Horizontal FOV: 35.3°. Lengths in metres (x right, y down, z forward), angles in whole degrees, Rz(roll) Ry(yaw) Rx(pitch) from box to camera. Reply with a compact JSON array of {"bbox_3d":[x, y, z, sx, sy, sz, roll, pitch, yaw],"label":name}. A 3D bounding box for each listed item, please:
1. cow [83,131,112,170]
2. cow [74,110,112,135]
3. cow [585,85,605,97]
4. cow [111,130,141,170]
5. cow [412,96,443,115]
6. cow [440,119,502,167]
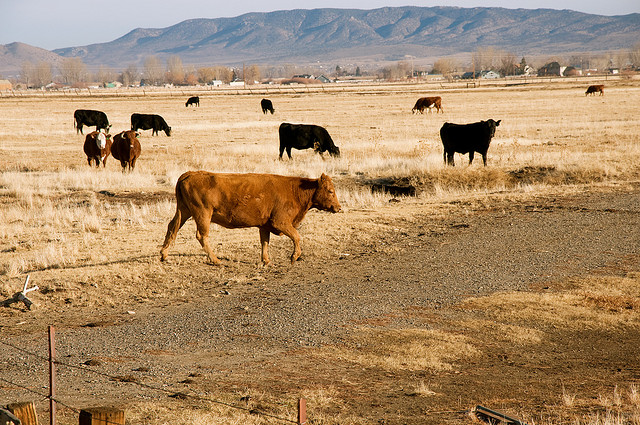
[{"bbox_3d":[-9.222,-2.640,41.711,1.084,1.575,1.744,-12,18,-29],"label":"cow"},{"bbox_3d":[-13.448,-5.234,59.517,2.517,1.477,0.659,9,11,13],"label":"cow"},{"bbox_3d":[24.579,-10.746,88.430,1.496,1.085,2.636,1,16,15],"label":"cow"},{"bbox_3d":[-7.869,-2.624,41.048,0.773,1.561,1.781,-11,17,-25],"label":"cow"},{"bbox_3d":[7.980,-7.849,72.959,2.180,1.286,3.353,-2,16,5],"label":"cow"},{"bbox_3d":[6.388,-2.861,41.676,2.365,1.886,1.029,-4,-4,-6],"label":"cow"}]
